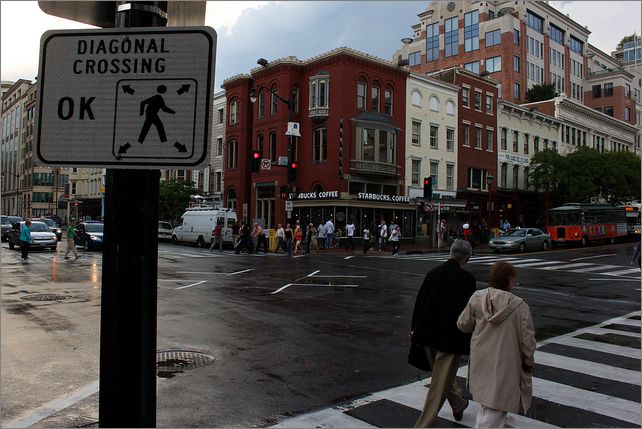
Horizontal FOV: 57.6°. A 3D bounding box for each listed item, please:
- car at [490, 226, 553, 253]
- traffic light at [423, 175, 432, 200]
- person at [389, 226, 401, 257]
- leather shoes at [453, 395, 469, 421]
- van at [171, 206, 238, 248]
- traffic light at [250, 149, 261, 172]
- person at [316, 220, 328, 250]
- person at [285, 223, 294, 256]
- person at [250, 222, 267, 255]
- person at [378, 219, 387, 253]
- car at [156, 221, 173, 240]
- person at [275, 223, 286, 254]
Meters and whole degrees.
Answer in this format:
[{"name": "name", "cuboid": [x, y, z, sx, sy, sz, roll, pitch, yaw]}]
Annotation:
[{"name": "car", "cuboid": [11.658, 1.500, 33.909, 3.436, 1.195, 1.522, 4, -7, -41]}, {"name": "traffic light", "cuboid": [6.163, -1.565, 33.361, 0.400, 1.244, 1.596, -1, -2, 13]}, {"name": "person", "cuboid": [3.883, 1.288, 30.627, 0.405, 1.625, 1.423, 0, -2, 8]}, {"name": "leather shoes", "cuboid": [1.931, 2.699, 8.062, 0.163, 0.408, 0.143, 5, 0, -12]}, {"name": "van", "cuboid": [-6.849, 0.632, 35.223, 1.774, 2.168, 4.506, 3, 0, -42]}, {"name": "traffic light", "cuboid": [-3.008, -2.444, 26.497, 0.413, 0.988, 0.758, 0, -2, -8]}, {"name": "person", "cuboid": [0.066, 1.237, 33.429, 0.516, 1.503, 1.047, 0, -2, -1]}, {"name": "person", "cuboid": [-1.645, 1.222, 29.406, 0.349, 1.574, 0.783, 0, -2, -4]}, {"name": "person", "cuboid": [-3.342, 1.233, 31.212, 0.801, 1.571, 1.776, 0, -2, -7]}, {"name": "person", "cuboid": [3.614, 1.235, 33.436, 0.408, 1.709, 1.113, 0, -2, 5]}, {"name": "car", "cuboid": [-10.280, 1.028, 38.340, 0.847, 1.259, 4.648, 1, -2, -16]}, {"name": "person", "cuboid": [-2.126, 1.238, 30.226, 0.526, 1.461, 1.104, 0, -2, -5]}]
